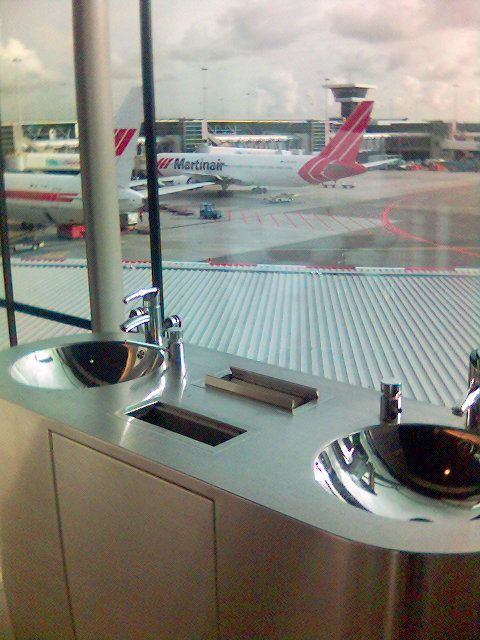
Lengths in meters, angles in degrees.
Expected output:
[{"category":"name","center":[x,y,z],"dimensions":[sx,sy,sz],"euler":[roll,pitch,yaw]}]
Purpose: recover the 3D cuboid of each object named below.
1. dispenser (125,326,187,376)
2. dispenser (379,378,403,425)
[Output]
[{"category":"dispenser","center":[-0.193,0.083,1.240],"dimensions":[0.052,0.111,0.167],"euler":[5,6,43]},{"category":"dispenser","center":[0.267,0.143,0.921],"dimensions":[0.037,0.091,0.060],"euler":[0,14,15]}]
